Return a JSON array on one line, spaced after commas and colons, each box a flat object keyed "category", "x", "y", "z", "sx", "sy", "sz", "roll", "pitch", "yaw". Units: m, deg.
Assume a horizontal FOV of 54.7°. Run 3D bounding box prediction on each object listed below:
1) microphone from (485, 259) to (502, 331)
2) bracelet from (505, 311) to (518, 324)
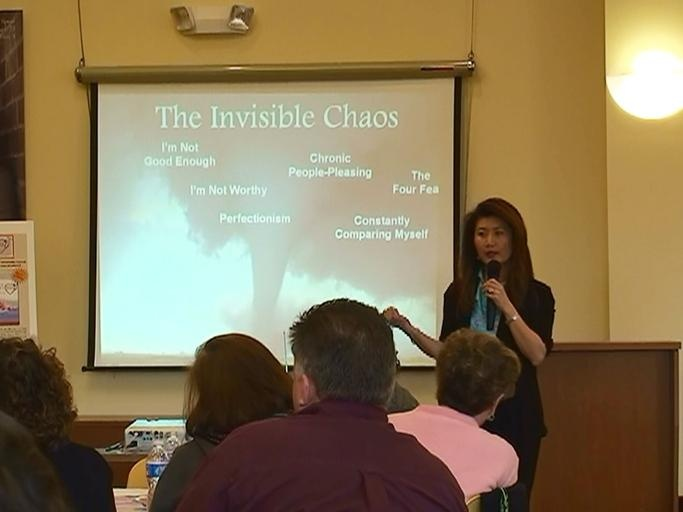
[{"category": "microphone", "x": 0.727, "y": 0.187, "z": 3.171, "sx": 0.067, "sy": 0.338, "sz": 0.040, "roll": 1, "pitch": 7, "yaw": 7}, {"category": "bracelet", "x": 0.786, "y": 0.288, "z": 3.044, "sx": 0.061, "sy": 0.047, "sz": 0.040, "roll": -2, "pitch": 1, "yaw": 11}]
